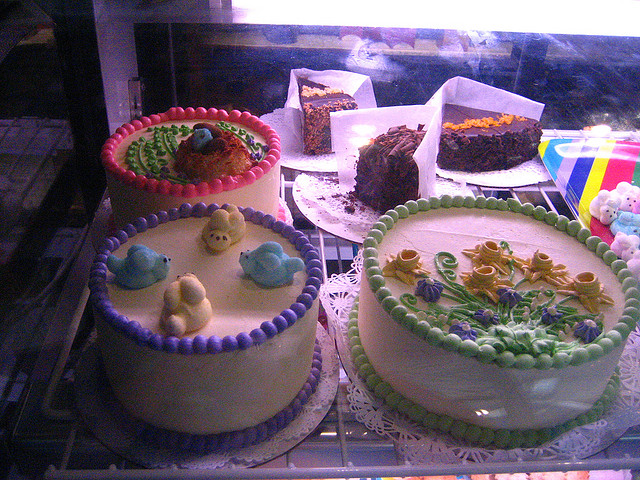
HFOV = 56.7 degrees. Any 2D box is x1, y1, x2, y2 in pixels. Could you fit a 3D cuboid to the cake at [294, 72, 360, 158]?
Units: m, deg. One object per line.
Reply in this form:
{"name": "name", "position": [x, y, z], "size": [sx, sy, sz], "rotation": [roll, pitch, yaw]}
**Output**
{"name": "cake", "position": [0.004, -0.807, 4.116], "size": [0.445, 0.176, 0.522], "rotation": [-21, 77, -4]}

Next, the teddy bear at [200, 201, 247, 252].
{"name": "teddy bear", "position": [-0.456, -0.085, 2.802], "size": [0.193, 0.140, 0.270], "rotation": [9, 40, 1]}

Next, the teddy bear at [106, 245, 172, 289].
{"name": "teddy bear", "position": [-0.790, 0.108, 2.592], "size": [0.273, 0.093, 0.242], "rotation": [1, 37, -6]}

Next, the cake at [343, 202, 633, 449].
{"name": "cake", "position": [0.776, 0.370, 2.805], "size": [1.218, 0.531, 1.157], "rotation": [32, 47, 29]}

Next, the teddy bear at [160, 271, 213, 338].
{"name": "teddy bear", "position": [-0.577, 0.248, 2.448], "size": [0.204, 0.238, 0.286], "rotation": [2, 18, 9]}

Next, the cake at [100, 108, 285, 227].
{"name": "cake", "position": [-0.723, -0.410, 3.185], "size": [0.810, 0.470, 0.790], "rotation": [18, 36, 18]}
